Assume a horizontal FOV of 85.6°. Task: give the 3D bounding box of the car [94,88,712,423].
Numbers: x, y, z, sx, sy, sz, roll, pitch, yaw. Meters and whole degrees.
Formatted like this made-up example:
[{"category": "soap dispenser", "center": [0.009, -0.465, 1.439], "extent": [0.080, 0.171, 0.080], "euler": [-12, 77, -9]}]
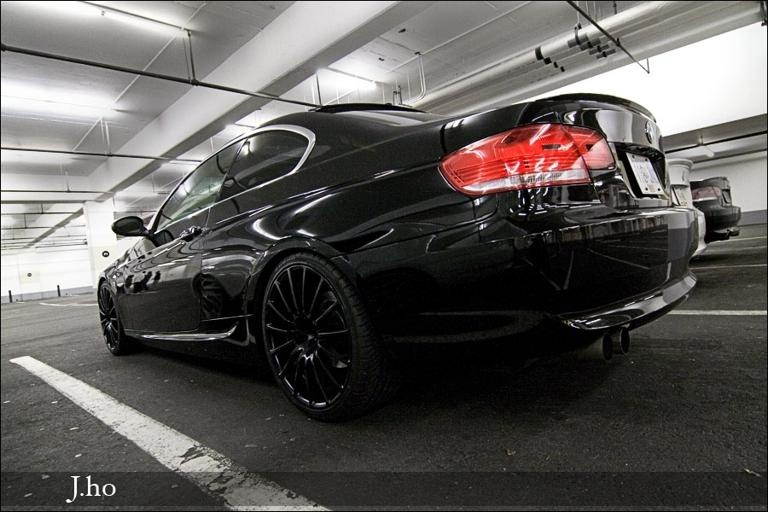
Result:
[{"category": "car", "center": [-0.550, -0.003, 2.913], "extent": [1.855, 0.991, 3.643], "euler": [0, -1, -42]}]
